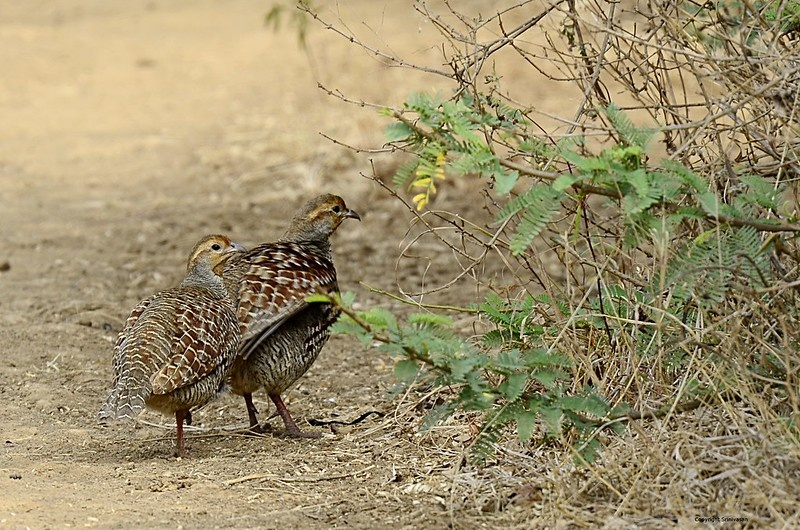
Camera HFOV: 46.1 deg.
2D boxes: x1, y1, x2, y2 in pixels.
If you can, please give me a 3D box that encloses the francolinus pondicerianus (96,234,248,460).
[{"bbox_3d":[-1.538,0.583,6.416,0.729,1.289,1.330,14,22,15],"label":"francolinus pondicerianus"}]
